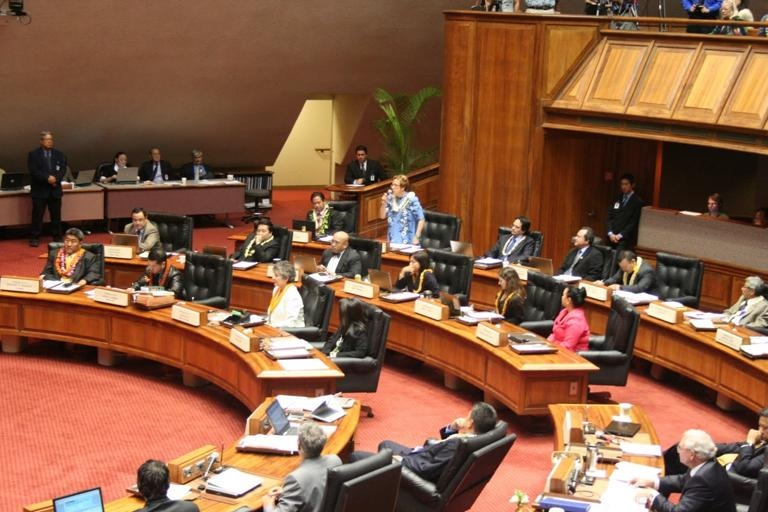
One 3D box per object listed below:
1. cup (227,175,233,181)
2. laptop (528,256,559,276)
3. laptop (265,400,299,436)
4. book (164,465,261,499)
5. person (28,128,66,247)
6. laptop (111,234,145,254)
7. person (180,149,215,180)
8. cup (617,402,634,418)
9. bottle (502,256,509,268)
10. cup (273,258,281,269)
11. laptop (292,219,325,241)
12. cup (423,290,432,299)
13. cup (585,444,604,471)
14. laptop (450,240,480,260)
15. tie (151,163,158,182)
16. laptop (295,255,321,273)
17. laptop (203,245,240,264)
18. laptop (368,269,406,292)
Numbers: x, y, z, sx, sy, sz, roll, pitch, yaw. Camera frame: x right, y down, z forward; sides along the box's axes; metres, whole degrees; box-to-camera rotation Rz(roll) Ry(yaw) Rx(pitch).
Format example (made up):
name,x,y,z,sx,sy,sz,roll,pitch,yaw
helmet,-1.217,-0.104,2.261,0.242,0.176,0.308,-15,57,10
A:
name,x,y,z,sx,sy,sz,roll,pitch,yaw
cup,-3.894,-1.981,15.654,0.146,0.111,0.150,1,5,0
laptop,2.478,0.121,9.486,0.267,0.240,0.377,-16,16,-36
laptop,-0.909,1.434,5.512,0.234,0.181,0.279,6,8,17
book,-1.347,1.771,4.797,0.305,0.069,0.343,8,17,31
person,-7.185,-1.438,13.254,0.681,2.343,0.793,18,16,40
laptop,-4.206,-0.264,10.155,0.452,0.317,0.333,3,7,4
person,-4.861,-2.391,16.013,0.922,0.924,0.517,-4,8,-31
cup,2.350,1.509,5.992,0.153,0.176,0.156,0,3,0
bottle,1.981,0.103,10.158,0.173,0.186,0.172,1,4,4
cup,-1.511,0.106,8.678,0.145,0.169,0.148,1,3,0
laptop,-1.409,-0.526,11.240,0.512,0.355,0.363,7,21,22
cup,0.604,0.540,8.670,0.103,0.106,0.105,0,1,0
cup,1.749,1.687,5.216,0.153,0.199,0.173,-1,1,33
laptop,1.262,-0.184,10.037,0.393,0.285,0.277,13,23,39
tie,-5.558,-2.037,15.044,0.202,0.381,0.090,0,-5,-3
laptop,-1.138,0.047,9.544,0.362,0.238,0.254,4,15,43
laptop,-2.469,0.060,9.534,0.480,0.336,0.341,9,15,31
laptop,0.047,0.341,8.947,0.395,0.272,0.301,10,17,42
